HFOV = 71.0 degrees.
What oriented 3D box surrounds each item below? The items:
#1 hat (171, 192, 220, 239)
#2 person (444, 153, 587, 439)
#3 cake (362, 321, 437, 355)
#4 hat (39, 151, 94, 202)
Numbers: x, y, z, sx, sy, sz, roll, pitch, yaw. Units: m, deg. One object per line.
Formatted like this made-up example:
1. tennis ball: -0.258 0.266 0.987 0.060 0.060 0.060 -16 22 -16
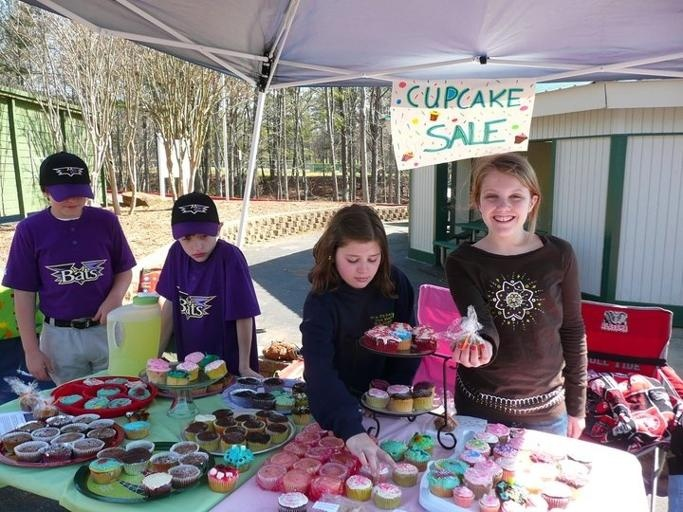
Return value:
1. hat: -0.987 -0.258 3.207 0.302 0.184 0.369 -1 21 -13
2. person: 0.970 0.268 2.549 0.835 1.568 0.827 3 14 10
3. cake: 0.297 0.415 2.370 0.224 0.053 0.202 0 3 -17
4. hat: -2.038 -0.550 3.523 0.456 0.222 0.325 34 30 33
